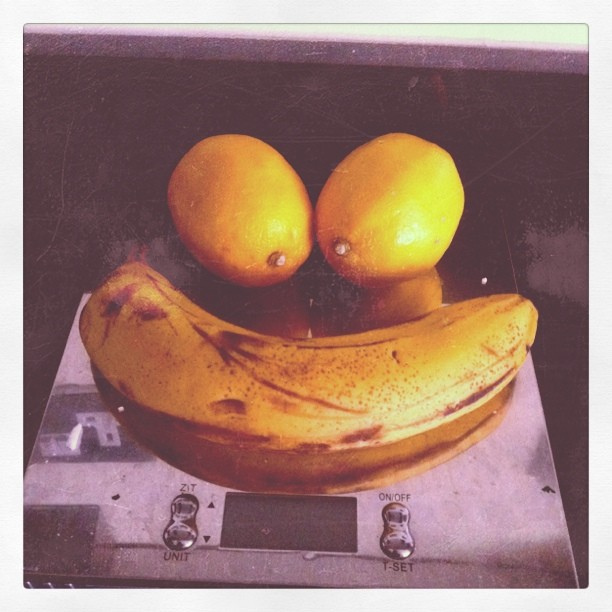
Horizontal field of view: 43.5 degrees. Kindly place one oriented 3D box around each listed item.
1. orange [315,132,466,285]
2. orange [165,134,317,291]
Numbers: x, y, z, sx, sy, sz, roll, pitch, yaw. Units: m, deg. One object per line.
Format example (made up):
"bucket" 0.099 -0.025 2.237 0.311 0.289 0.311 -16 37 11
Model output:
"orange" 0.111 -0.129 1.031 0.174 0.137 0.204 36 58 19
"orange" -0.097 -0.119 1.016 0.141 0.163 0.215 -13 62 -20
